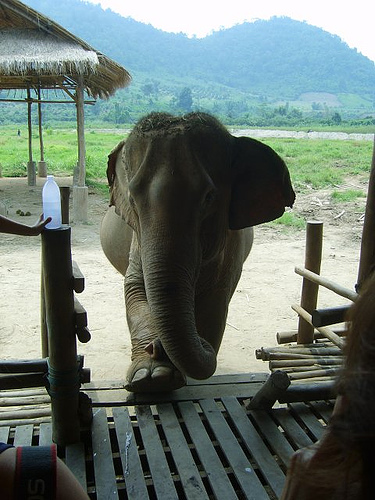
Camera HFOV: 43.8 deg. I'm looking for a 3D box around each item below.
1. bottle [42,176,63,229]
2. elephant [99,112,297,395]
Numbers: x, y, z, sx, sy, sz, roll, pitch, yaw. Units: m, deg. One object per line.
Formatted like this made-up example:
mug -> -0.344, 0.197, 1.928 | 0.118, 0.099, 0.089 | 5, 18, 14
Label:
bottle -> -0.666, -0.241, 2.305 | 0.090, 0.251, 0.355 | -1, 12, -17
elephant -> 0.057, -0.005, 3.011 | 1.127, 1.699, 1.552 | 1, 12, -10
